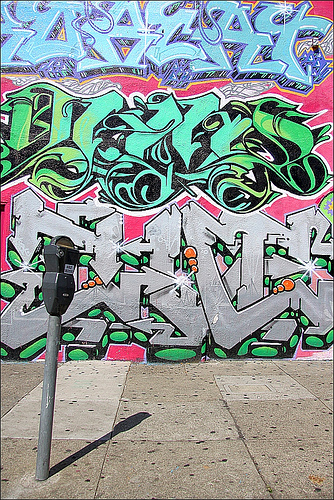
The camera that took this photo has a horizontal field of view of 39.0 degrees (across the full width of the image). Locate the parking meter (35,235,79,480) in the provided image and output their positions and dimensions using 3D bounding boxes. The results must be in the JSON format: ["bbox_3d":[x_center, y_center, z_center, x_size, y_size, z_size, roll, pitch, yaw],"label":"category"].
[{"bbox_3d":[-0.758,0.713,3.220,0.169,1.621,0.328,1,1,12],"label":"parking meter"}]

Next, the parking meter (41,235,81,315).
[{"bbox_3d":[-0.739,0.174,3.230,0.182,0.531,0.218,0,-5,29],"label":"parking meter"}]
